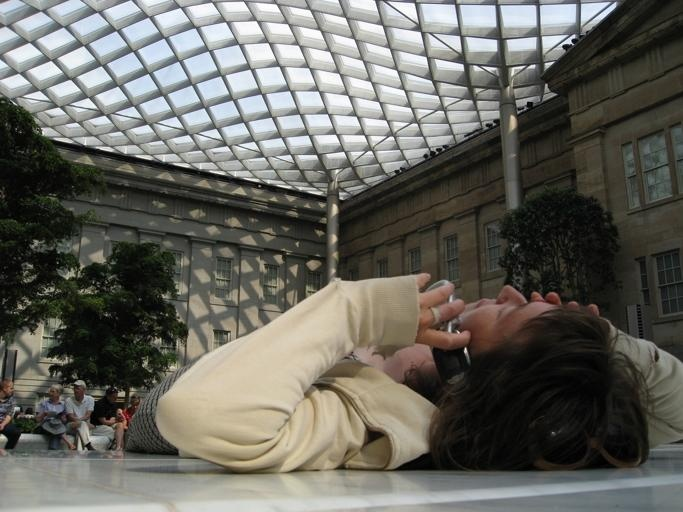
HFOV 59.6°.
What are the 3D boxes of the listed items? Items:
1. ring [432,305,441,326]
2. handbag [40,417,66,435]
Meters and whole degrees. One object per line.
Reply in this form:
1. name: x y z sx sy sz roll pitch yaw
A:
1. ring: 0.470 0.293 2.971 0.033 0.067 0.058 -7 3 5
2. handbag: -4.824 2.847 9.921 0.366 0.309 0.209 -1 2 -9
